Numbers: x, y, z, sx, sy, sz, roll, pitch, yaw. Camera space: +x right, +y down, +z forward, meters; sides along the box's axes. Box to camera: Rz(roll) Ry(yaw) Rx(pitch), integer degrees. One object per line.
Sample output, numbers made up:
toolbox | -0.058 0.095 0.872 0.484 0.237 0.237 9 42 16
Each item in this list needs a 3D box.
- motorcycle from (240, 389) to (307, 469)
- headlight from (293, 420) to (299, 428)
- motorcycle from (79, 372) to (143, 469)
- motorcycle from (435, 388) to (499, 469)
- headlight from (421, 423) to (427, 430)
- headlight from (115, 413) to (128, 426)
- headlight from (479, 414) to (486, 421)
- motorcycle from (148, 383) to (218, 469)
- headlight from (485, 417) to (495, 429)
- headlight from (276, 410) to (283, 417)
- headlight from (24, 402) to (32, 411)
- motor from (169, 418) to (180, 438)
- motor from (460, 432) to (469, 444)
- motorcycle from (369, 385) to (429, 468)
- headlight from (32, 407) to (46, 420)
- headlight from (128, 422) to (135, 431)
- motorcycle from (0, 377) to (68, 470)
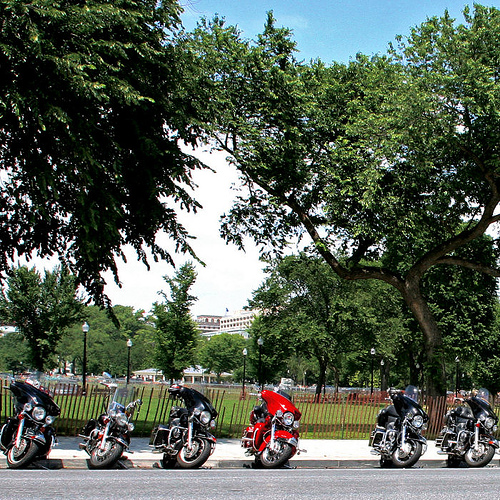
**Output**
motorcycle | 0.571 3.756 14.325 1.427 1.308 2.692 6 -7 0
headlight | 0.914 3.498 13.504 0.127 0.113 0.141 -1 -1 43
motorcycle | -2.776 3.423 13.234 0.989 1.492 2.474 23 -16 -17
motorcycle | 4.926 3.990 15.095 1.283 1.782 0.701 2 -13 16
headlight | 3.608 3.677 13.967 0.124 0.135 0.146 6 10 -9
headlight | -2.402 3.135 12.457 0.196 0.208 0.227 0 -25 -9
headlight | 5.157 3.708 14.873 0.143 0.117 0.035 -2 -16 15
motorcycle | -1.257 3.477 13.178 1.187 1.608 0.614 1 -14 17
headlight | 5.288 3.817 14.826 0.192 0.208 0.204 -3 -27 21
headlight | 0.584 3.275 13.462 0.132 0.136 0.067 5 -13 1
headlight | -4.079 2.858 12.259 0.135 0.138 0.096 8 -13 -15
motor | -1.456 3.463 13.116 0.137 0.292 0.246 -9 -8 18
motor | 4.773 4.167 14.905 0.175 0.264 0.158 1 -13 18
motorcycle | 3.350 3.841 14.789 1.020 1.730 2.579 15 -13 -2
headlight | -3.871 2.982 12.253 0.229 0.228 0.112 10 -13 -22
headlight | -2.249 3.323 12.618 0.160 0.125 0.035 -1 -2 -3
motorcycle | -4.124 3.182 12.429 0.926 1.609 0.666 3 -13 9
